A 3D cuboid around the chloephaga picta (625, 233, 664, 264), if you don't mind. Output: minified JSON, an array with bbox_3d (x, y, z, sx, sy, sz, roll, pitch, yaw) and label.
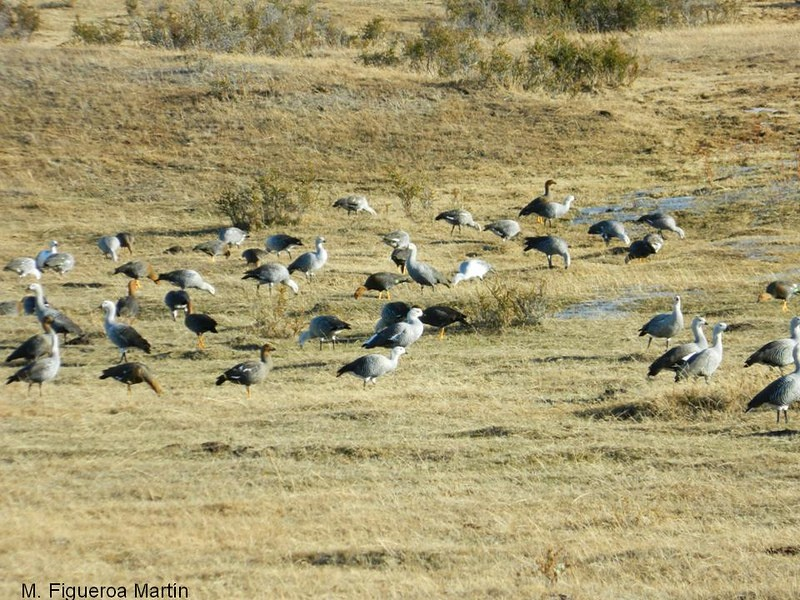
[{"bbox_3d":[7.960,-1.642,56.254,1.051,0.954,0.901,9,14,18],"label":"chloephaga picta"}]
